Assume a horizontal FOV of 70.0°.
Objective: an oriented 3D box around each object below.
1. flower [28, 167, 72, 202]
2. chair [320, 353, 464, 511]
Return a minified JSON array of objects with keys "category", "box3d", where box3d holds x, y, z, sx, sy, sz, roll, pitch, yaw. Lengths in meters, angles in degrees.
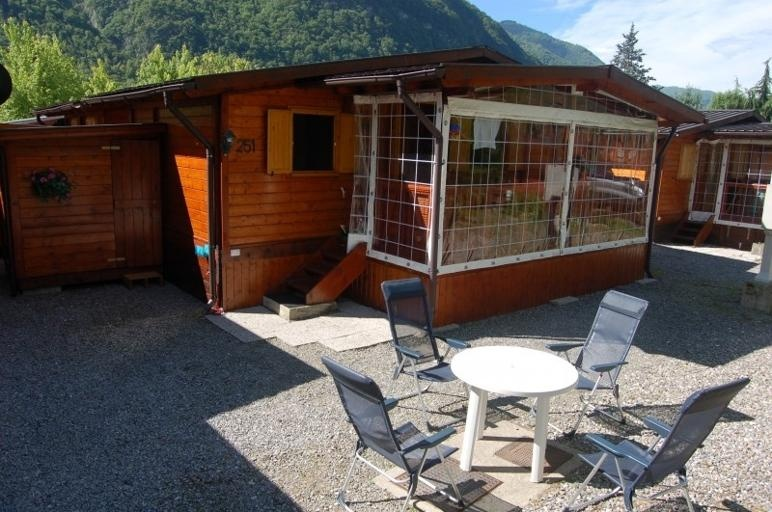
[{"category":"flower","box3d":[-5.929,-1.154,9.706,0.641,0.302,0.677,-9,-12,-21]},{"category":"chair","box3d":[0.076,1.961,5.944,1.096,1.450,1.039,-20,27,-35]}]
